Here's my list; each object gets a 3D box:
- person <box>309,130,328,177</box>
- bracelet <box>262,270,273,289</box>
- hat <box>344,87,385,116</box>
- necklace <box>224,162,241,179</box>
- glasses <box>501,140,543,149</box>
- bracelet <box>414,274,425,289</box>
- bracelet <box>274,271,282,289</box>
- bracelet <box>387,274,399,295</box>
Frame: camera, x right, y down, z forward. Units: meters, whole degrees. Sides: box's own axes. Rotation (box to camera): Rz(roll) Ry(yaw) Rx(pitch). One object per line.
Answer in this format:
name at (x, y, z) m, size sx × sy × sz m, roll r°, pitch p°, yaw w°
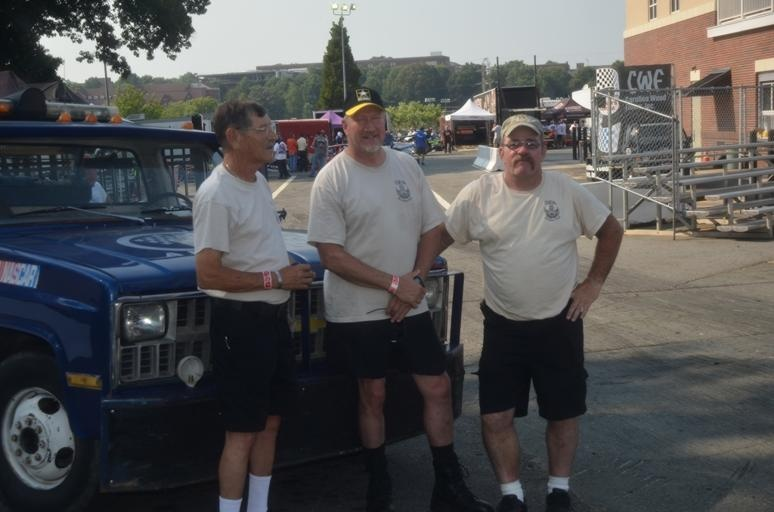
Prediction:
person at (-3.479, -5.373, 35.957) m, size 0.709 × 2.219 × 0.706 m, roll -2°, pitch 37°, yaw -11°
bracelet at (-0.740, 0.155, 4.378) m, size 0.065 × 0.104 × 0.036 m, roll -6°, pitch 9°, yaw -13°
hat at (-0.165, -1.074, 4.842) m, size 0.192 × 0.249 × 0.254 m, roll 5°, pitch 28°, yaw -10°
necklace at (-0.978, -0.541, 4.469) m, size 0.102 × 0.038 × 0.077 m, roll 38°, pitch 5°, yaw -9°
glasses at (0.917, -0.746, 4.780) m, size 0.222 × 0.058 × 0.065 m, roll -3°, pitch 9°, yaw 6°
bracelet at (0.221, 0.170, 4.817) m, size 0.076 × 0.058 × 0.077 m, roll 29°, pitch 20°, yaw -36°
bracelet at (-0.680, 0.150, 4.418) m, size 0.047 × 0.100 × 0.049 m, roll -8°, pitch 10°, yaw -28°
bracelet at (0.049, 0.194, 4.730) m, size 0.039 × 0.101 × 0.084 m, roll 16°, pitch -9°, yaw -23°
